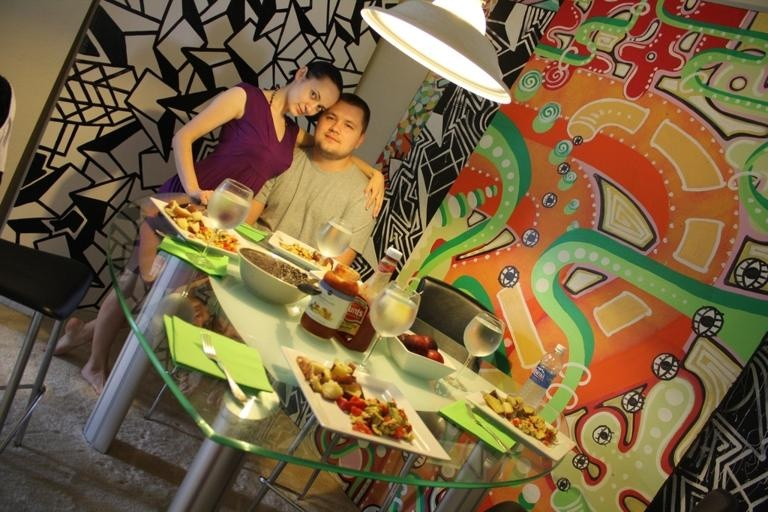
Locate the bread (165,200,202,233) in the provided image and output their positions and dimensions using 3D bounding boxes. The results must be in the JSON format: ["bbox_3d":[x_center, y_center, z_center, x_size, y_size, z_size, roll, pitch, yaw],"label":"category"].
[{"bbox_3d":[-0.768,-0.154,1.916,0.137,0.048,0.129,42,22,1],"label":"bread"}]

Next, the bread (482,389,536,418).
[{"bbox_3d":[0.434,0.532,1.766,0.112,0.037,0.112,21,7,3],"label":"bread"}]

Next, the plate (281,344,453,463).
[{"bbox_3d":[-0.054,0.452,1.485,0.571,0.156,0.236,28,-4,-14],"label":"plate"}]

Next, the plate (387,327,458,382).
[{"bbox_3d":[0.125,0.342,1.759,0.151,0.068,0.218,23,7,-28],"label":"plate"}]

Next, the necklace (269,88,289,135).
[{"bbox_3d":[-0.642,-0.893,3.078,0.146,0.253,0.072,-23,20,-32],"label":"necklace"}]

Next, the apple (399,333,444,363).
[{"bbox_3d":[0.133,0.326,1.775,0.148,0.068,0.088,25,-3,-34],"label":"apple"}]
